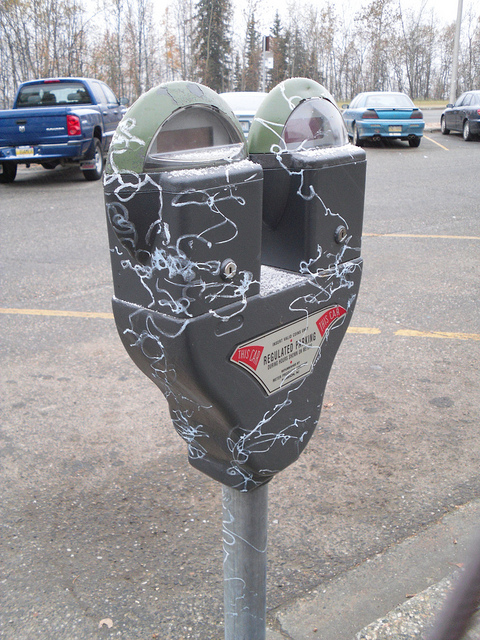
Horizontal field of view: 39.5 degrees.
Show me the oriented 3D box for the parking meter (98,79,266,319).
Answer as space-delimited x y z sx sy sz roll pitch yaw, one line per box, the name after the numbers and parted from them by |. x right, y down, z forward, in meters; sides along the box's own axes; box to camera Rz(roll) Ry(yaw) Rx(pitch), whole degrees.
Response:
-0.096 -0.215 1.175 0.279 0.401 0.225 -2 15 -9 | parking meter

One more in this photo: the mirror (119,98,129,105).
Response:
-2.170 -4.087 12.483 0.149 0.069 0.145 -13 -5 28 | mirror

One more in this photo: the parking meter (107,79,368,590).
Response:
0.002 0.092 1.437 0.245 1.185 0.593 13 19 39 | parking meter

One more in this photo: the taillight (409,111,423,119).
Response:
3.742 -4.390 14.248 0.221 0.193 0.091 2 -1 -1 | taillight

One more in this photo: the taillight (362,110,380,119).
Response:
2.724 -4.300 14.035 0.218 0.194 0.093 7 31 11 | taillight
